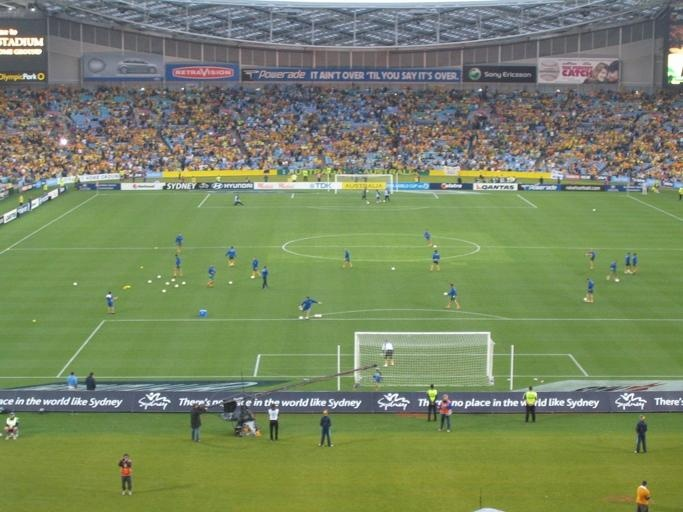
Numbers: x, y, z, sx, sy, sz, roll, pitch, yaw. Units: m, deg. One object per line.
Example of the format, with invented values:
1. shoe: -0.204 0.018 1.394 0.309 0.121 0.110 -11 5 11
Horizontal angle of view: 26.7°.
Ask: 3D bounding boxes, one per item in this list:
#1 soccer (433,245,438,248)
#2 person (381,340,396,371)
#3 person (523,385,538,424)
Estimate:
1. soccer: 9.302 -0.875 143.158 0.397 0.195 0.272 -2 1 35
2. person: 3.850 7.992 118.022 1.058 1.682 1.479 1 14 2
3. person: 14.549 11.261 111.023 0.898 2.656 1.462 1 15 5
